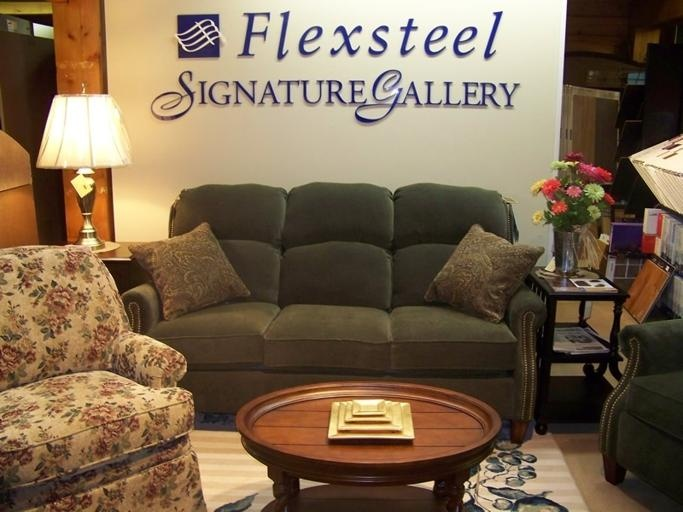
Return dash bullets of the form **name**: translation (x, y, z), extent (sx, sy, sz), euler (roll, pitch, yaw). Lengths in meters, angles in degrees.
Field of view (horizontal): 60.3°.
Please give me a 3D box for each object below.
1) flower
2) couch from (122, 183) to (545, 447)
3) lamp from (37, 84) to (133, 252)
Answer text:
- **flower**: translation (1.386, -0.385, 3.567), extent (0.452, 0.457, 0.277), euler (3, 11, 16)
- **couch**: translation (-0.033, 0.295, 3.800), extent (2.471, 1.443, 1.106), euler (1, 13, 3)
- **lamp**: translation (-1.715, -0.560, 3.956), extent (0.569, 1.053, 0.341), euler (-3, 11, -17)
